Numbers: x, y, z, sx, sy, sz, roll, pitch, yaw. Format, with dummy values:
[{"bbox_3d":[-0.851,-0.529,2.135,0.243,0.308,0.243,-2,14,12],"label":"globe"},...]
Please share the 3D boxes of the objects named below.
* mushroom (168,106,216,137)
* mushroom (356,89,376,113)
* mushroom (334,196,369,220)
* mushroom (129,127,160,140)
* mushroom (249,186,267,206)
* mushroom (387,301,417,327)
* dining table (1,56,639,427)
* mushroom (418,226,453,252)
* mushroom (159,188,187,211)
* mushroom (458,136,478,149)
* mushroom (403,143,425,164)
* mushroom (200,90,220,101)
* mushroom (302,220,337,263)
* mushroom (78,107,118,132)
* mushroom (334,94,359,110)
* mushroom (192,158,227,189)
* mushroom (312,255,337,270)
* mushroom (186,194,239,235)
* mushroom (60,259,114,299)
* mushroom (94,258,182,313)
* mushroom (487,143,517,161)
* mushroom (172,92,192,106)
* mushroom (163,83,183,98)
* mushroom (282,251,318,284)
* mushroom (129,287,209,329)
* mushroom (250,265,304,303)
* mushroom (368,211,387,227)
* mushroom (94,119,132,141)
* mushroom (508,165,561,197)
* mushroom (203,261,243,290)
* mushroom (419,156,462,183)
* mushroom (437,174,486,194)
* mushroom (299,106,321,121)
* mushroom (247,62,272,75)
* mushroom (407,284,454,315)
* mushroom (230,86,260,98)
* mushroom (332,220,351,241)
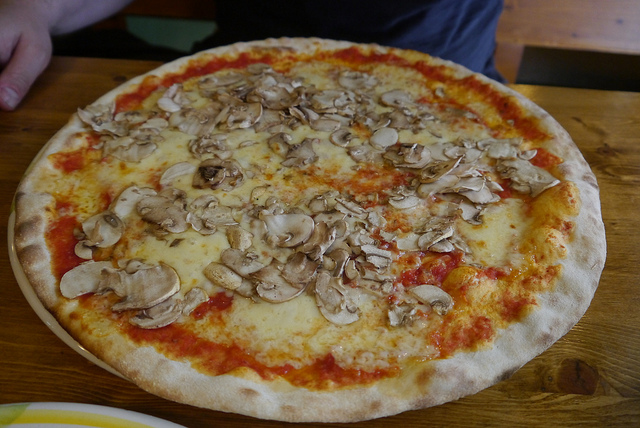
[{"bbox_3d":[-0.434,-0.314,2.271,0.164,0.033,0.085,18,55,5],"label":"mushroom"},{"bbox_3d":[0.169,-0.402,2.394,0.095,0.029,0.077,25,36,-28],"label":"mushroom"},{"bbox_3d":[0.095,-0.018,2.039,0.101,0.023,0.050,26,59,1],"label":"mushroom"},{"bbox_3d":[-0.591,-0.271,2.229,0.073,0.015,0.057,6,28,5],"label":"mushroom"},{"bbox_3d":[-0.194,-0.055,2.080,0.043,0.012,0.066,20,49,21],"label":"mushroom"},{"bbox_3d":[0.234,0.283,1.878,0.081,0.033,0.067,-5,81,-1],"label":"mushroom"},{"bbox_3d":[0.066,0.087,2.147,2.054,0.666,1.223,-8,82,-2],"label":"dining table"},{"bbox_3d":[0.360,0.070,1.965,0.076,0.136,0.029,-18,92,-42],"label":"mushroom"},{"bbox_3d":[-0.451,-0.042,2.066,0.080,0.019,0.070,26,42,-3],"label":"mushroom"},{"bbox_3d":[0.499,-0.239,2.243,0.051,0.013,0.046,-21,48,-38],"label":"mushroom"},{"bbox_3d":[0.308,-0.194,2.161,0.059,0.015,0.066,22,59,9],"label":"mushroom"},{"bbox_3d":[-0.399,-0.430,2.386,0.050,0.013,0.052,-14,41,-17],"label":"mushroom"},{"bbox_3d":[-0.005,0.079,1.953,0.093,0.026,0.107,13,60,11],"label":"mushroom"},{"bbox_3d":[-0.757,-0.312,2.259,0.141,0.036,0.071,27,42,-3],"label":"mushroom"},{"bbox_3d":[0.093,-0.392,2.358,0.077,0.019,0.059,18,55,2],"label":"mushroom"},{"bbox_3d":[-0.339,-0.136,2.101,0.123,0.023,0.082,-13,54,-4],"label":"mushroom"},{"bbox_3d":[0.016,0.142,1.915,0.060,0.012,0.029,23,63,8],"label":"mushroom"},{"bbox_3d":[-0.304,0.001,2.017,0.173,0.042,0.172,-16,57,10],"label":"mushroom"},{"bbox_3d":[-0.686,0.184,1.924,0.048,0.107,0.177,-5,9,24],"label":"mushroom"},{"bbox_3d":[-0.501,0.193,1.887,0.290,0.045,0.145,-6,61,14],"label":"mushroom"},{"bbox_3d":[0.607,-0.206,2.197,0.083,0.019,0.063,11,47,9],"label":"mushroom"},{"bbox_3d":[-0.493,-0.407,2.358,0.054,0.014,0.053,36,51,18],"label":"mushroom"},{"bbox_3d":[-0.531,-0.443,2.385,0.045,0.017,0.068,18,44,14],"label":"mushroom"},{"bbox_3d":[-0.071,0.150,1.919,0.112,0.101,0.024,-18,61,-15],"label":"mushroom"},{"bbox_3d":[-0.419,0.269,1.877,0.187,0.035,0.098,-23,26,-27],"label":"mushroom"},{"bbox_3d":[-0.135,0.202,1.889,0.093,0.033,0.117,-39,84,-6],"label":"mushroom"},{"bbox_3d":[0.174,0.017,2.025,0.051,0.012,0.048,28,41,16],"label":"mushroom"},{"bbox_3d":[-0.696,-0.289,2.243,0.121,0.025,0.060,-1,55,-9],"label":"mushroom"},{"bbox_3d":[0.679,-0.112,2.120,0.113,0.035,0.119,-28,50,-15],"label":"mushroom"},{"bbox_3d":[-0.281,0.179,1.917,0.115,0.035,0.070,42,83,5],"label":"mushroom"},{"bbox_3d":[0.397,-0.137,2.113,0.146,0.027,0.074,-20,39,-12],"label":"mushroom"},{"bbox_3d":[0.470,-0.094,2.074,0.089,0.020,0.070,-14,36,-25],"label":"mushroom"},{"bbox_3d":[-0.034,-0.346,2.300,0.077,0.014,0.039,22,44,2],"label":"mushroom"},{"bbox_3d":[-0.223,-0.555,2.518,0.076,0.016,0.067,19,27,18],"label":"mushroom"},{"bbox_3d":[0.309,0.243,1.902,0.150,0.035,0.105,26,28,-19],"label":"mushroom"},{"bbox_3d":[-0.278,-0.436,2.370,0.052,0.015,0.082,22,37,36],"label":"mushroom"},{"bbox_3d":[0.056,0.050,1.979,0.067,0.016,0.052,13,66,7],"label":"mushroom"}]
